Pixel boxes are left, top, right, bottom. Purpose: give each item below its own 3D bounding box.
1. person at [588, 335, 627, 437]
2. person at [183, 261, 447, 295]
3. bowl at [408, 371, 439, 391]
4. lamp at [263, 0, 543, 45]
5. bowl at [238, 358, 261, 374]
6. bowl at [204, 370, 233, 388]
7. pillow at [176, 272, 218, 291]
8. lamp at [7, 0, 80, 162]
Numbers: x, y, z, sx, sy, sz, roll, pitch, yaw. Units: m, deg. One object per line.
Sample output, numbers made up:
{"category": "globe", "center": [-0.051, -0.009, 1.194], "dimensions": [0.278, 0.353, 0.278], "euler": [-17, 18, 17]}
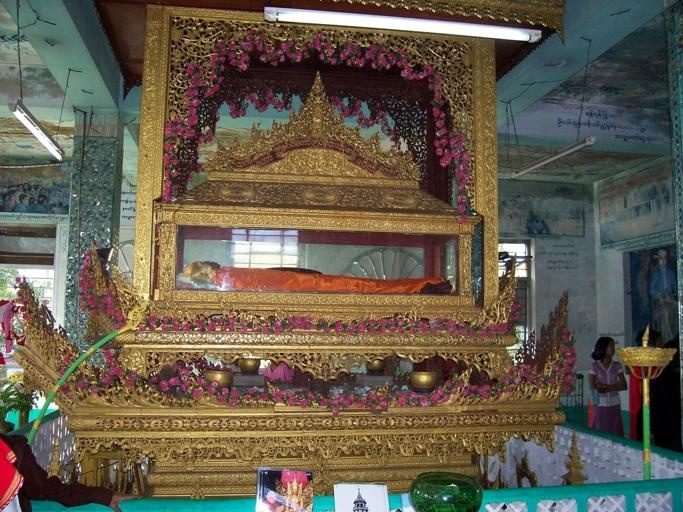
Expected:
{"category": "person", "center": [2.811, 1.531, 11.450], "dimensions": [0.395, 1.312, 0.366], "euler": [-5, 15, -5]}
{"category": "person", "center": [-0.262, 0.192, 9.603], "dimensions": [2.267, 0.264, 0.126], "euler": [1, 1, -7]}
{"category": "bowl", "center": [0.739, 1.112, 9.644], "dimensions": [0.192, 0.118, 0.191], "euler": [1, -5, 0]}
{"category": "lamp", "center": [0.481, -2.124, 9.685], "dimensions": [2.536, 0.185, 0.164], "euler": [4, 34, 0]}
{"category": "bowl", "center": [-0.836, 0.998, 9.832], "dimensions": [0.156, 0.099, 0.155], "euler": [1, -11, 0]}
{"category": "bowl", "center": [-1.063, 1.085, 9.543], "dimensions": [0.171, 0.124, 0.174], "euler": [1, -5, 0]}
{"category": "pillow", "center": [-1.268, 0.219, 9.503], "dimensions": [0.368, 0.142, 0.042], "euler": [1, 1, 7]}
{"category": "lamp", "center": [-3.235, -1.972, 11.768], "dimensions": [0.328, 1.385, 1.245], "euler": [-6, -9, 3]}
